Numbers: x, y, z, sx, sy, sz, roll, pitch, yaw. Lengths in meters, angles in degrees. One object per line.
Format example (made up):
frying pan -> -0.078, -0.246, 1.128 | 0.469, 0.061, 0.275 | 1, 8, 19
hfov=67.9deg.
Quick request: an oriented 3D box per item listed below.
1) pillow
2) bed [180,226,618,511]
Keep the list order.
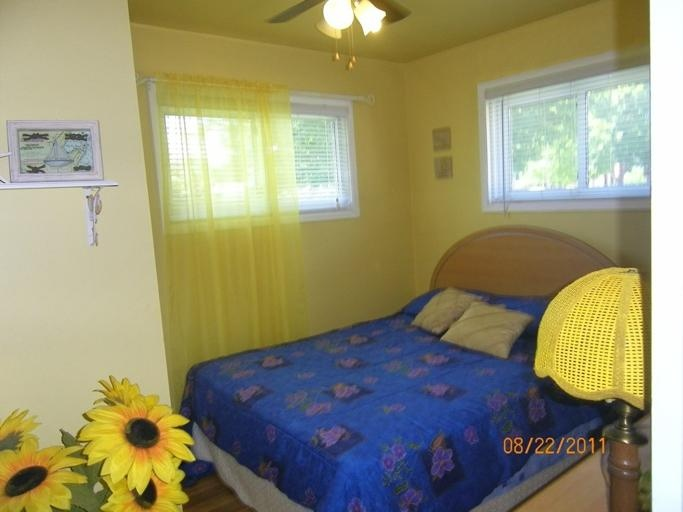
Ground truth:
pillow -> 0.829, 0.422, 3.305 | 0.437, 0.155, 0.604 | -29, 21, -32
bed -> 0.592, 0.705, 3.210 | 2.245, 1.291, 1.465 | -23, 27, -37
